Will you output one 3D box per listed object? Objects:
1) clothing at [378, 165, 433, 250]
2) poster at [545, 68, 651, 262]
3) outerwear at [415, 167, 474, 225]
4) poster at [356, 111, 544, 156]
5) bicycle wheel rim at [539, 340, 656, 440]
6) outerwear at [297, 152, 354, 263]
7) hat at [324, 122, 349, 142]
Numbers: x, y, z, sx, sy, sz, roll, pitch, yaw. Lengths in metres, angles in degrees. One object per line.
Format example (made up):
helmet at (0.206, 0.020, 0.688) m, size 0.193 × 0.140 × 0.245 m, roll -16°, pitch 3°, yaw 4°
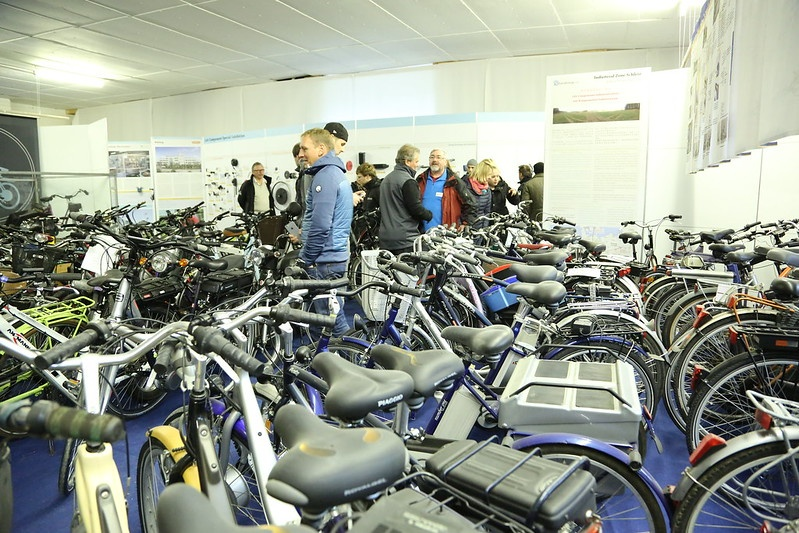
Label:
clothing at (0.063, -0.640, 5.799) m, size 0.530 × 0.855 × 0.636 m, roll -3°, pitch 13°, yaw -32°
poster at (2.283, -1.270, 6.301) m, size 1.102 × 2.101 × 0.035 m, roll 2°, pitch -12°, yaw 16°
outerwear at (0.502, -0.818, 6.318) m, size 0.792 × 0.706 × 0.373 m, roll 11°, pitch 26°, yaw 22°
poster at (0.711, -2.060, 8.600) m, size 3.073 × 0.689 × 0.336 m, roll 1°, pitch 8°, yaw 8°
bicycle wheel rim at (1.046, 0.656, 2.852) m, size 0.627 × 0.625 × 0.185 m, roll 1°, pitch 1°, yaw 5°
outerwear at (-0.616, -0.462, 4.461) m, size 0.452 × 0.883 × 0.649 m, roll 5°, pitch 14°, yaw 6°
hat at (-0.578, -1.171, 4.797) m, size 0.223 × 0.129 × 0.157 m, roll 20°, pitch 17°, yaw 12°
